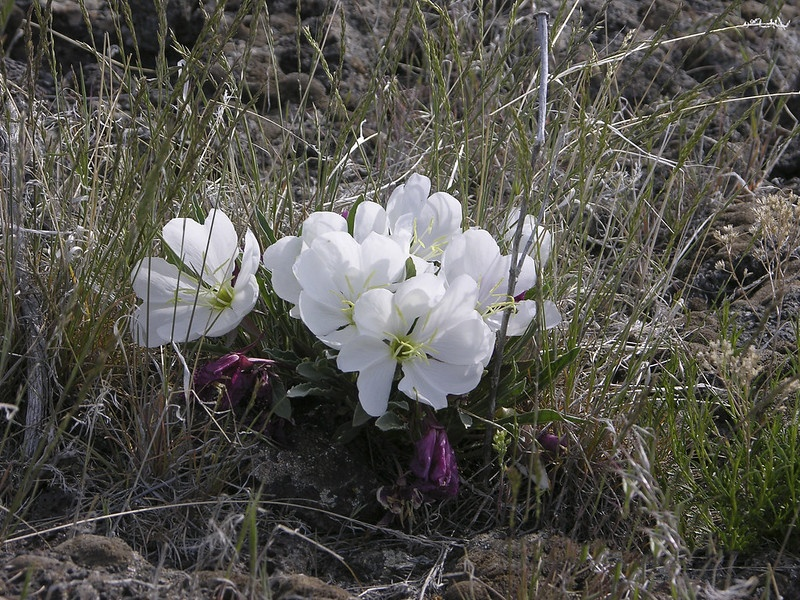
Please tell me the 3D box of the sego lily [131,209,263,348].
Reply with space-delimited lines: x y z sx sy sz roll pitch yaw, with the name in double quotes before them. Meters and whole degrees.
"sego lily" -0.489 -0.045 2.077 0.312 0.168 0.321 -49 59 9
